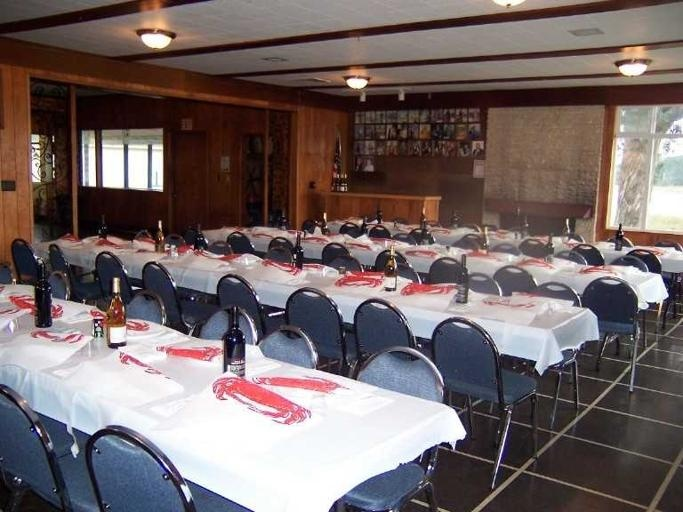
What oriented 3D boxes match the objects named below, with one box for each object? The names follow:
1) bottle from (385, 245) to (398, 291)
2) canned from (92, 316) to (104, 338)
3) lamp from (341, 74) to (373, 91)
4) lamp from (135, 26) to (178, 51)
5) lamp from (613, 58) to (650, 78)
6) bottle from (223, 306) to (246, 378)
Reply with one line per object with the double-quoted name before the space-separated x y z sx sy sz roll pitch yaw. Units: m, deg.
"bottle" 0.406 0.080 4.050 0.108 0.364 0.288 4 12 6
"canned" -1.274 0.376 2.650 0.050 0.098 0.055 -5 14 -29
"lamp" 0.331 -2.926 8.489 0.397 0.191 0.390 13 23 33
"lamp" -2.216 -2.609 6.081 0.465 0.183 0.321 -2 12 -21
"lamp" 3.980 -2.572 6.892 0.327 0.120 0.324 3 11 22
"bottle" -0.470 0.412 2.234 0.095 0.257 0.139 -1 13 -15
